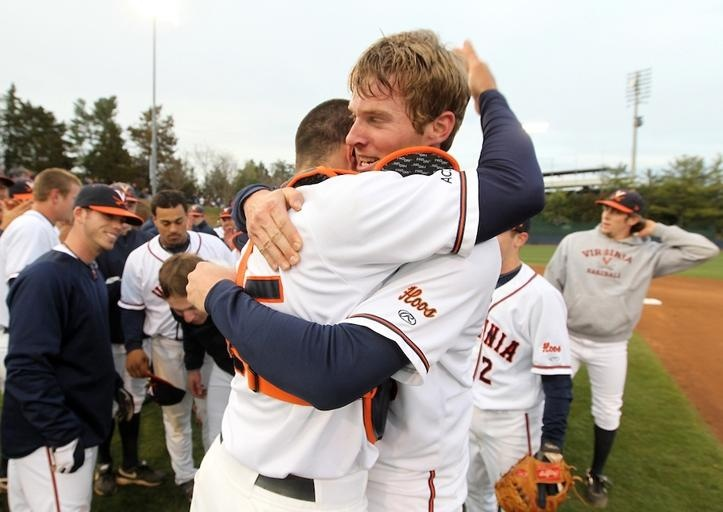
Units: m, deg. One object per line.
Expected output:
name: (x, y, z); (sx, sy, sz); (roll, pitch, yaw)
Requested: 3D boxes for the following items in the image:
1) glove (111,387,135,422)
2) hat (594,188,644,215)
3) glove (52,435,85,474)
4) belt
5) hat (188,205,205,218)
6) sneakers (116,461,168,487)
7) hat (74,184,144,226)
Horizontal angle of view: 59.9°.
glove: (-2.404, 1.562, 6.353); (0.164, 0.459, 0.190); (-10, 35, -25)
hat: (3.080, -0.595, 7.346); (0.418, 0.230, 0.322); (23, 6, -16)
glove: (-2.588, 1.772, 5.541); (0.270, 0.281, 0.098); (-19, 16, -37)
belt: (-0.568, 1.366, 4.025); (0.365, 0.289, 0.372); (17, -4, -4)
hat: (-3.128, -0.859, 11.850); (0.203, 0.161, 0.283); (6, -6, 4)
sneakers: (-2.351, 2.365, 6.770); (0.495, 0.231, 0.231); (4, 1, -7)
hat: (-2.481, -0.519, 6.156); (0.512, 0.266, 0.334); (15, -3, -19)
